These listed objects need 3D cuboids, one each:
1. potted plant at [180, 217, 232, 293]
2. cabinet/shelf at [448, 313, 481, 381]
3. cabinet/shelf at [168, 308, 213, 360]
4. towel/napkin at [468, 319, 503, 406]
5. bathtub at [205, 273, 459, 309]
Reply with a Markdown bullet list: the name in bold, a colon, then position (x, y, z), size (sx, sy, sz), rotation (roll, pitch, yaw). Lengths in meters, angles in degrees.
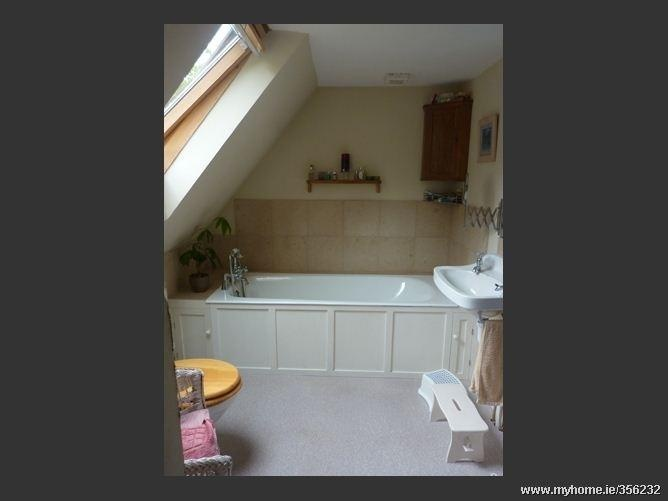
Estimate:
- **potted plant**: position (-0.956, 0.013, 3.882), size (0.397, 0.560, 0.807), rotation (-2, 2, -11)
- **cabinet/shelf**: position (0.781, 0.644, 3.439), size (0.222, 0.448, 0.308), rotation (4, -1, -18)
- **cabinet/shelf**: position (-0.945, 0.579, 3.540), size (0.192, 0.365, 0.203), rotation (-7, -13, -24)
- **towel/napkin**: position (0.791, 0.571, 2.696), size (0.159, 0.453, 0.138), rotation (-1, 2, 15)
- **bathtub**: position (0.012, 0.298, 4.018), size (1.208, 0.214, 0.555), rotation (-1, 14, 0)
